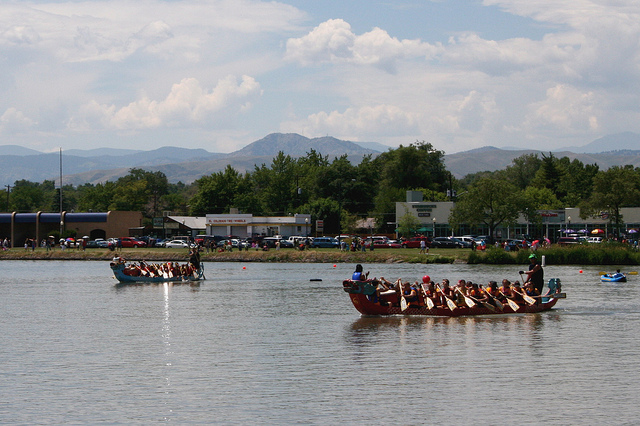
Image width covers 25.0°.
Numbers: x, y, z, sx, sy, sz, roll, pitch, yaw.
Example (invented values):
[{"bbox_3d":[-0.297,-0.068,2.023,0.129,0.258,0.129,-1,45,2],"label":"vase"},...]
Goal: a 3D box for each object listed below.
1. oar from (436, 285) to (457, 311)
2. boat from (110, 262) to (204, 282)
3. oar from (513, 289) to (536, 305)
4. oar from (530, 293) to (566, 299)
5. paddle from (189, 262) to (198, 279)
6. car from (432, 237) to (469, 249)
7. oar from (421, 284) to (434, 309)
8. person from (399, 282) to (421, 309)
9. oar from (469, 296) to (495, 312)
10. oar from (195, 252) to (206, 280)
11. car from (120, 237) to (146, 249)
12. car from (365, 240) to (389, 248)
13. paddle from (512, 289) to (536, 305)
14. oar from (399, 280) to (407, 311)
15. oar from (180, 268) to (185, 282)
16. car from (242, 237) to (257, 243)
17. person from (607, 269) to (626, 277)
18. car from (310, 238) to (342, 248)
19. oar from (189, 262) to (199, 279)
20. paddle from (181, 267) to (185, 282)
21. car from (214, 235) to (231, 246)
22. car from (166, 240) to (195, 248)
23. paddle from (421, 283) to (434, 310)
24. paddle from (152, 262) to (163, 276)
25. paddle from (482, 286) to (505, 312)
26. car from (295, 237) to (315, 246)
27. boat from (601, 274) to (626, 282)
[{"bbox_3d":[13.468,9.147,153.792,0.796,2.989,0.150,-20,-26,-50],"label":"oar"},{"bbox_3d":[-20.892,7.165,176.613,9.333,1.930,1.708,-1,0,-3],"label":"boat"},{"bbox_3d":[22.311,9.172,154.635,1.880,0.494,0.143,34,-20,10],"label":"oar"},{"bbox_3d":[24.526,8.864,155.544,4.246,0.626,0.444,-1,-17,-2],"label":"oar"},{"bbox_3d":[-15.736,6.949,177.571,0.492,1.993,0.294,-21,-6,-32],"label":"paddle"},{"bbox_3d":[19.305,4.486,216.804,4.457,1.475,2.001,-1,4,7],"label":"car"},{"bbox_3d":[11.469,8.961,153.812,0.763,2.599,0.349,-18,-9,-19],"label":"oar"},{"bbox_3d":[9.569,8.854,153.765,1.097,2.953,0.980,19,-50,-32],"label":"person"},{"bbox_3d":[17.335,9.517,153.866,2.978,0.432,0.223,34,-23,3],"label":"oar"},{"bbox_3d":[-15.292,6.774,182.739,0.531,3.584,0.518,-17,20,18],"label":"oar"},{"bbox_3d":[-29.647,4.735,227.841,3.178,1.487,1.819,-2,0,6],"label":"car"},{"bbox_3d":[8.748,4.584,219.517,2.992,0.980,1.351,2,-2,1],"label":"car"},{"bbox_3d":[22.095,8.998,154.650,2.259,0.565,0.258,37,-26,5],"label":"paddle"},{"bbox_3d":[8.744,9.104,153.710,0.642,2.040,0.947,-2,1,-24],"label":"oar"},{"bbox_3d":[-17.024,7.617,177.418,0.411,1.481,0.490,-11,20,25],"label":"oar"},{"bbox_3d":[-11.278,4.262,229.336,1.878,0.626,0.810,-11,-2,31],"label":"car"},{"bbox_3d":[36.601,7.576,176.959,2.172,0.830,1.486,-1,-1,-21],"label":"person"},{"bbox_3d":[0.908,4.535,218.836,3.933,1.386,1.769,-2,2,4],"label":"car"},{"bbox_3d":[-15.694,6.963,177.578,0.503,2.059,0.302,-19,17,13],"label":"oar"},{"bbox_3d":[-17.006,7.554,177.431,0.365,1.638,0.494,-11,-13,-9],"label":"paddle"},{"bbox_3d":[-15.785,4.403,230.589,1.551,1.124,3.305,-1,6,-16],"label":"car"},{"bbox_3d":[-22.229,5.184,226.463,4.069,1.356,1.997,-1,4,9],"label":"car"},{"bbox_3d":[11.470,8.935,153.832,0.798,2.695,0.373,-18,-9,-17],"label":"paddle"},{"bbox_3d":[-20.167,6.972,178.170,0.547,0.451,1.602,-10,48,-45],"label":"paddle"},{"bbox_3d":[18.476,9.231,154.082,3.404,0.883,0.484,45,6,25],"label":"paddle"},{"bbox_3d":[-2.546,4.346,219.393,1.440,1.229,2.625,0,2,36],"label":"car"},{"bbox_3d":[35.073,7.802,174.135,3.562,0.813,1.076,-3,-6,45],"label":"boat"}]
